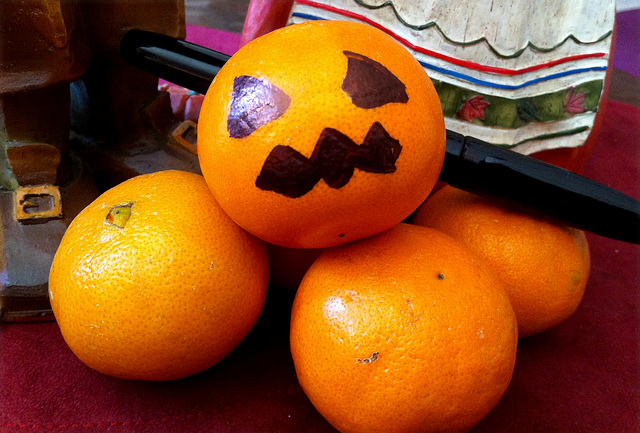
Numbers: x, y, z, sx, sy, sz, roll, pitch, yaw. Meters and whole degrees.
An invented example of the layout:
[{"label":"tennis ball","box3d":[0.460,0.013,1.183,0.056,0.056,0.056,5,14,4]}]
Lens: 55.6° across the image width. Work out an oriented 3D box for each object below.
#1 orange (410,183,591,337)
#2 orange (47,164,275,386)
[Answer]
[{"label":"orange","box3d":[0.405,0.059,1.365,0.343,0.290,0.285,23,16,26]},{"label":"orange","box3d":[-0.339,0.140,1.239,0.389,0.322,0.358,-6,-5,-45]}]
